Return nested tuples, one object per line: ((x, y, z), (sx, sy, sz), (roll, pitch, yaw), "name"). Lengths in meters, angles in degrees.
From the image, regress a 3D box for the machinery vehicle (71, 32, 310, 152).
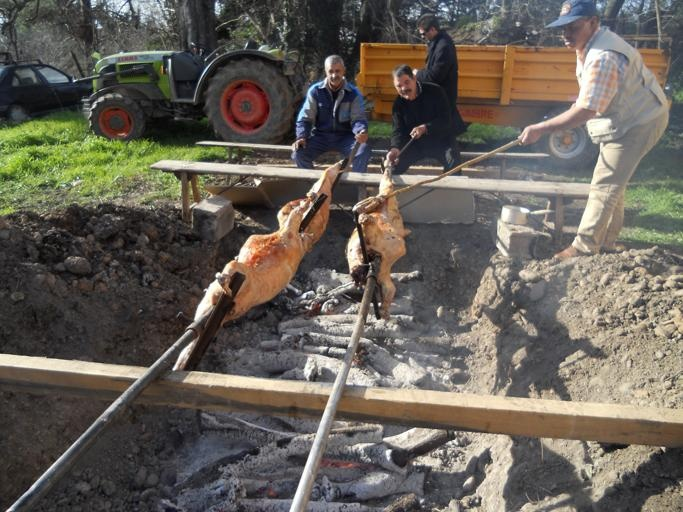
((-2.689, -2.977, 11.015), (3.469, 1.847, 2.167), (4, 28, 4), "machinery vehicle")

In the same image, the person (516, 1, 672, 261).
((2.849, -1.285, 6.306), (1.393, 2.725, 0.864), (2, 25, 7), "person")
